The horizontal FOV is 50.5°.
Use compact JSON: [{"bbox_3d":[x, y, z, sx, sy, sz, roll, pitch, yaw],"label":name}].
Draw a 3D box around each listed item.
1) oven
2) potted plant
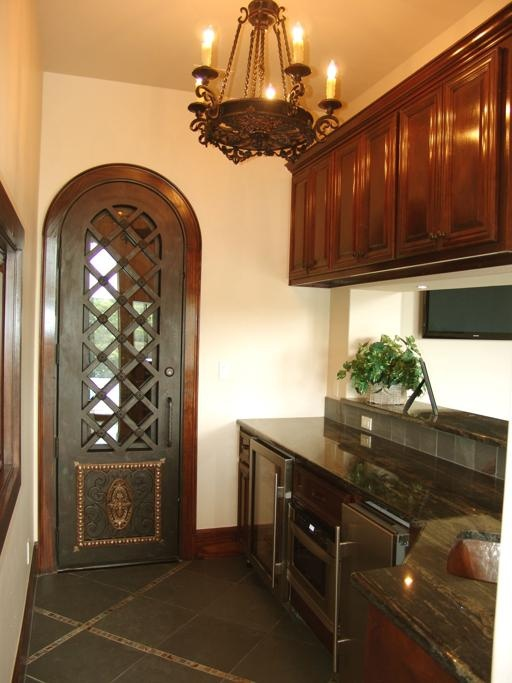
[{"bbox_3d":[0.336,0.904,2.300,0.305,0.654,0.465,2,7,-24],"label":"oven"},{"bbox_3d":[0.691,0.151,3.011,0.387,0.289,0.395,0,0,33],"label":"potted plant"}]
